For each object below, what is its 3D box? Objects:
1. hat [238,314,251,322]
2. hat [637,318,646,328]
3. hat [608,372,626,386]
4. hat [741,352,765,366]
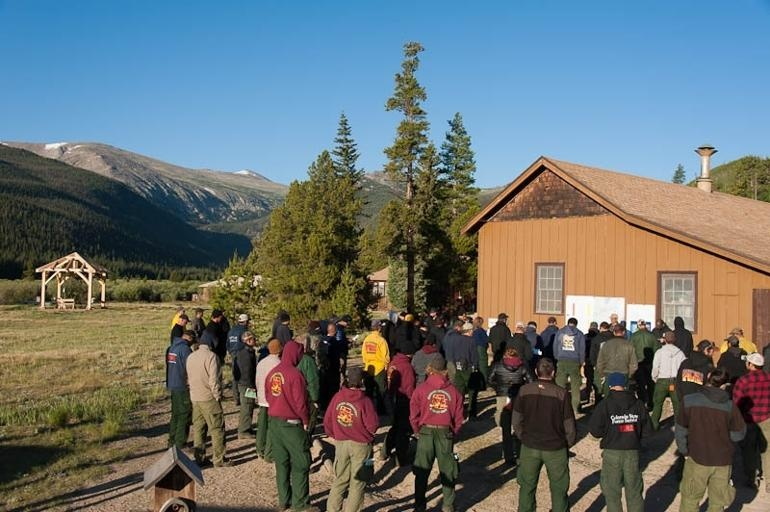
[{"bbox_3d":[-4.101,1.825,21.028,0.246,0.193,0.361,3,9,8],"label":"hat"},{"bbox_3d":[7.702,2.059,21.849,0.298,0.455,0.152,-1,-7,16],"label":"hat"},{"bbox_3d":[5.133,2.717,16.113,0.339,0.300,0.429,3,-4,13],"label":"hat"},{"bbox_3d":[9.003,2.530,17.721,0.311,0.319,0.451,2,-4,17],"label":"hat"}]
